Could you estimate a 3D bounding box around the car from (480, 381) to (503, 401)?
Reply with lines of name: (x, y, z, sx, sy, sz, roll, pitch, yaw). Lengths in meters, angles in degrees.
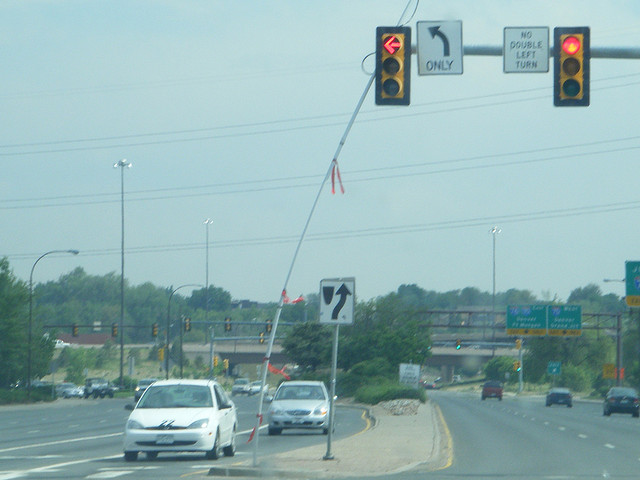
car: (15.368, 13.538, 116.354, 1.797, 2.178, 3.719, 1, -12, -5)

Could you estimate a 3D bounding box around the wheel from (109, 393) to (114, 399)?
wheel: (-19.657, 14.426, 120.243, 0.404, 0.593, 1.804, 1, -13, -4)

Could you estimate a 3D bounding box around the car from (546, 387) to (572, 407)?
car: (19.025, 12.501, 102.953, 1.932, 1.701, 1.908, -4, -12, 15)

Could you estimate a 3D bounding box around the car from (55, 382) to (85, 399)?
car: (-24.539, 14.256, 122.528, 2.253, 1.388, 1.432, -8, -8, 39)

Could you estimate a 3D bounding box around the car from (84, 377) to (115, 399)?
car: (-21.243, 13.687, 122.546, 1.872, 2.006, 3.286, 4, -10, -29)

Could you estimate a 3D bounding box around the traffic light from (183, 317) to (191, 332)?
traffic light: (-11.799, 7.198, 112.716, 0.444, 1.083, 2.421, 1, -13, -6)

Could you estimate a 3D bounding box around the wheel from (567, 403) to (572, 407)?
wheel: (19.660, 13.056, 102.052, 0.272, 0.183, 0.770, -2, -13, 5)

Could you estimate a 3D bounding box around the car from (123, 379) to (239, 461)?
car: (-7.171, 9.143, 66.077, 5.377, 4.106, 1.795, 2, -10, -10)

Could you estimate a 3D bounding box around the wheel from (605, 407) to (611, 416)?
wheel: (20.321, 12.080, 91.058, 0.379, 0.991, 0.455, 1, 5, 11)

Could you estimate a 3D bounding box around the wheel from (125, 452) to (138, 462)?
wheel: (-9.727, 10.997, 65.571, 0.427, 0.577, 0.132, 0, 1, 1)

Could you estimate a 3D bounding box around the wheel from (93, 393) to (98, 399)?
wheel: (-21.432, 14.609, 121.788, 0.257, 0.563, 1.529, 3, -13, -19)

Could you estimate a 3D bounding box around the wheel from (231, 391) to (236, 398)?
wheel: (-8.479, 14.846, 124.466, 0.313, 0.794, 0.638, -2, -10, -15)

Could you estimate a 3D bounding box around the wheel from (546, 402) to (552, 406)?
wheel: (18.294, 13.112, 103.540, 0.344, 0.345, 0.222, 1, 3, 9)

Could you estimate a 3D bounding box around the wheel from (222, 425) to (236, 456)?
wheel: (-4.841, 10.388, 67.008, 0.353, 1.577, 1.324, -1, -6, 9)

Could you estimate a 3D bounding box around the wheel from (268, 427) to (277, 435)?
wheel: (-2.818, 10.924, 73.920, 0.303, 0.436, 0.235, -2, -7, 2)

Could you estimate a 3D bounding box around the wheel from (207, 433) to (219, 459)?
wheel: (-5.543, 10.504, 65.842, 0.590, 1.206, 0.598, 0, -10, 0)

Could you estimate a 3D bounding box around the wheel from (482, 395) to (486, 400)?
wheel: (14.597, 14.056, 115.852, 0.174, 0.474, 0.765, -1, -12, 7)
